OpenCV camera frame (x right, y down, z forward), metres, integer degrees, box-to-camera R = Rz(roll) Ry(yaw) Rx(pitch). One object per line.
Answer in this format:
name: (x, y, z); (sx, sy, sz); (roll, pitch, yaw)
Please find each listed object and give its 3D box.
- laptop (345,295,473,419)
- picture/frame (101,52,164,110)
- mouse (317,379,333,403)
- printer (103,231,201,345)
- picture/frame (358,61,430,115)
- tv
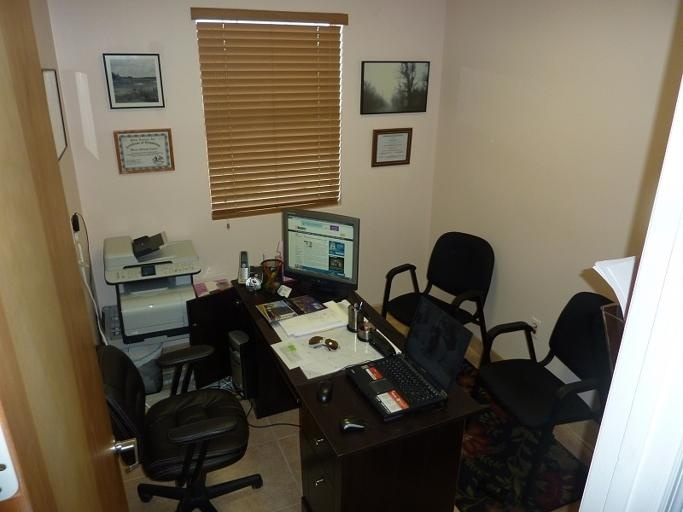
laptop: (0.299, 0.475, 2.402); (0.496, 0.395, 0.390); (-7, 19, -15)
picture/frame: (-1.423, -1.193, 3.426); (0.332, 0.367, 0.024); (-9, 21, -24)
mouse: (-0.073, 0.642, 2.373); (0.059, 0.065, 0.091); (5, 20, 21)
printer: (-1.281, 0.267, 3.706); (0.699, 0.750, 0.663); (-7, 26, -18)
picture/frame: (0.405, -1.391, 4.152); (0.411, 0.315, 0.018); (-8, 24, -16)
tv: (-0.130, 0.003, 3.219); (0.440, 0.443, 0.240); (9, 18, 24)
